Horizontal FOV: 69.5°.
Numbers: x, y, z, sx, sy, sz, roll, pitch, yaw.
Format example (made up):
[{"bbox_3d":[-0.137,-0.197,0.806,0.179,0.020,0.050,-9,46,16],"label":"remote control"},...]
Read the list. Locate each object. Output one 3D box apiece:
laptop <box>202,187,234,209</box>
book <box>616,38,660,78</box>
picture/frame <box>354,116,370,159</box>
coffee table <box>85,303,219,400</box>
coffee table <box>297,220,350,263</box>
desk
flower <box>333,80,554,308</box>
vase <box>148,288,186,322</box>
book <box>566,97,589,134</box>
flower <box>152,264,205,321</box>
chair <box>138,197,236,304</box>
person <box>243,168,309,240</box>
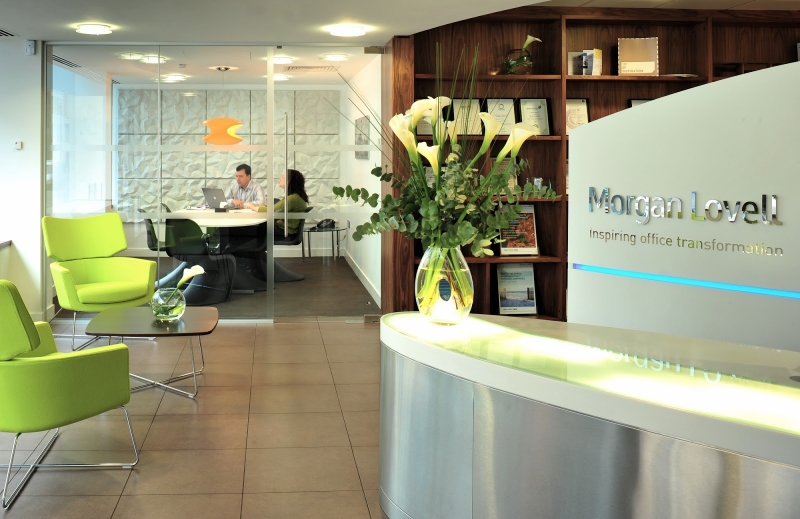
[{"bbox_3d":[-2.188,-0.710,6.870,0.322,0.217,0.240,1,3,6],"label":"laptop"},{"bbox_3d":[2.664,-2.248,6.502,0.529,0.488,0.249,0,-1,2],"label":"book"},{"bbox_3d":[-0.461,-1.434,6.899,0.024,0.481,0.282,-2,4,-42],"label":"picture/frame"},{"bbox_3d":[-1.986,0.832,4.791,0.833,0.401,0.839,-6,1,-20],"label":"coffee table"},{"bbox_3d":[-0.945,-0.217,7.010,0.502,0.299,0.497,0,3,16],"label":"coffee table"},{"bbox_3d":[-2.030,-0.116,7.023,1.148,0.552,0.753,2,1,9],"label":"desk"},{"bbox_3d":[0.182,-0.256,3.201,0.962,1.170,1.093,3,1,-28],"label":"flower"},{"bbox_3d":[-1.947,0.388,4.868,0.296,0.270,0.286,1,14,-3],"label":"vase"},{"bbox_3d":[2.026,-1.650,6.620,0.332,0.359,0.175,-1,12,-11],"label":"book"},{"bbox_3d":[-1.871,0.296,4.879,0.452,0.440,0.278,-3,11,-27],"label":"flower"},{"bbox_3d":[-2.744,-0.083,7.509,1.199,1.515,1.139,0,2,-23],"label":"chair"},{"bbox_3d":[-1.538,-0.492,7.059,0.821,1.187,0.520,4,7,-12],"label":"person"}]
